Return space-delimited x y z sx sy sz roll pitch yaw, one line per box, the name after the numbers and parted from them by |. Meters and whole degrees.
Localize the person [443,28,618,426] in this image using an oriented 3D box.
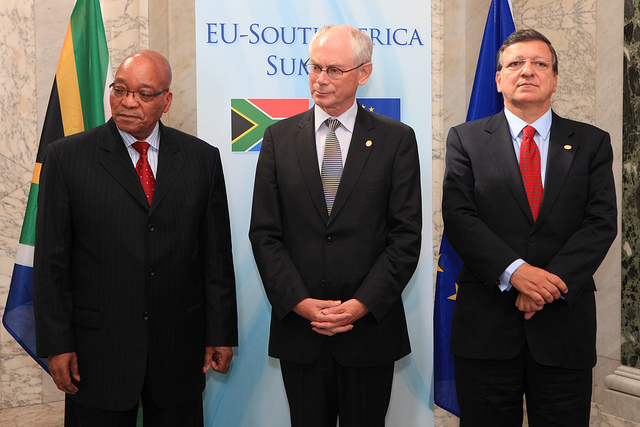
1.166 0.074 2.987 0.922 2.184 0.575 -2 9 13 | person

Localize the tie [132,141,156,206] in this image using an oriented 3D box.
-0.944 -0.219 2.889 0.118 0.348 0.033 -7 -30 -27 | tie

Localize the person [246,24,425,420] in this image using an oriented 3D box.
0.085 0.038 3.042 0.969 2.188 0.590 -3 9 10 | person

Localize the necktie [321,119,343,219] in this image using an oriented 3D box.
0.066 -0.266 3.026 0.100 0.583 0.024 1 -15 1 | necktie

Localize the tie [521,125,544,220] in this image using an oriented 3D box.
1.178 -0.233 2.964 0.092 0.535 0.029 -2 -15 5 | tie

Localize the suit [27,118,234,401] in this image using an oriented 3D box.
-0.993 0.286 2.991 1.012 1.448 0.436 -1 16 -19 | suit
